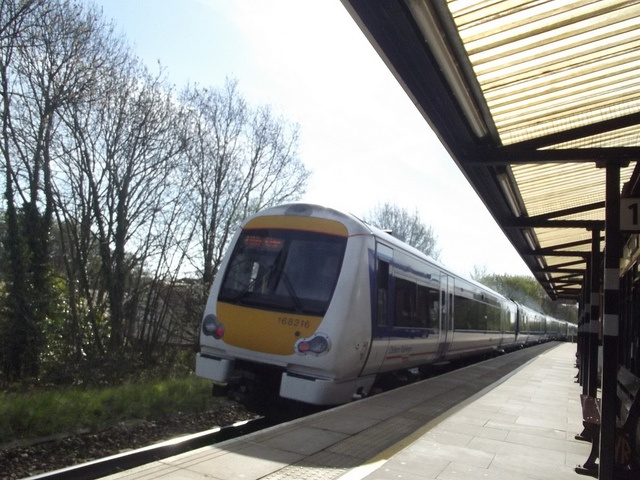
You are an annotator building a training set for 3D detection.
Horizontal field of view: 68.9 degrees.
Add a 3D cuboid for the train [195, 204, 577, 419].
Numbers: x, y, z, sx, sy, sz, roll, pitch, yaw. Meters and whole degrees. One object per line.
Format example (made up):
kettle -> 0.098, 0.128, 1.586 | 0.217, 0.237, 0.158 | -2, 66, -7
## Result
train -> 4.893, 4.096, 19.325 | 3.038, 5.145, 25.854 | -6, -15, 27
